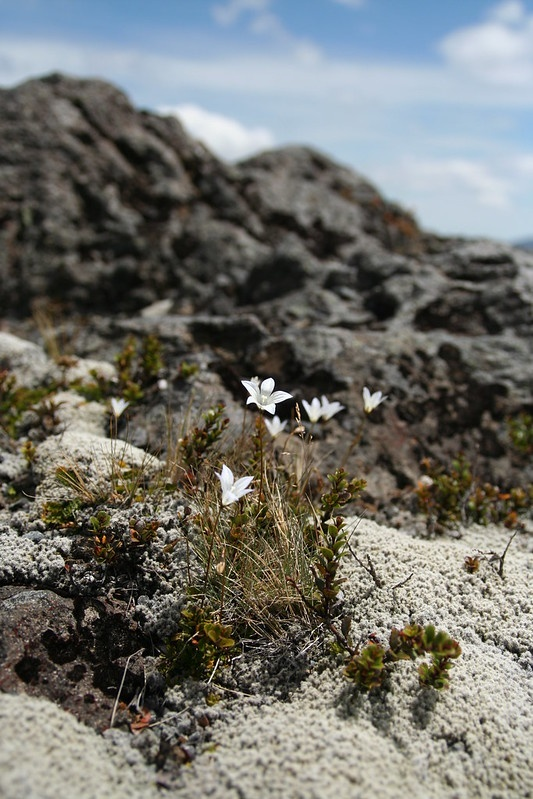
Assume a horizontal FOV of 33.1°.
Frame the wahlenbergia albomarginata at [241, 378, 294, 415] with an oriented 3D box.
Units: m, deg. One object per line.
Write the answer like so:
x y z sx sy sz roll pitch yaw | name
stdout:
-0.018 -0.003 4.798 0.251 0.095 0.256 7 53 -14 | wahlenbergia albomarginata
